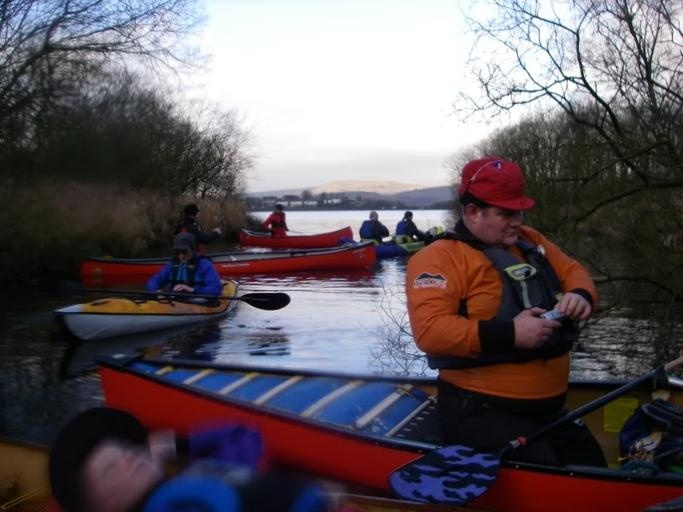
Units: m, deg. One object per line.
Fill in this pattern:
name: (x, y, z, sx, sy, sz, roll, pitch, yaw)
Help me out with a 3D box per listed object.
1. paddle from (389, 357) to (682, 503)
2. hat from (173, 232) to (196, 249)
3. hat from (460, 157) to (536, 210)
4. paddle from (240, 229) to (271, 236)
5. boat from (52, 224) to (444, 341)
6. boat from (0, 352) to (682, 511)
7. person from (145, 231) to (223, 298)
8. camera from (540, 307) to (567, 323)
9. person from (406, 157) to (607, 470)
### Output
paddle: (1.268, 1.263, 3.537, 2.034, 0.113, 0.567, -21, 12, -1)
hat: (-2.217, -0.208, 8.162, 0.274, 0.260, 0.297, -3, 6, -12)
hat: (0.919, -0.445, 3.455, 0.393, 0.207, 0.301, 22, 29, 40)
paddle: (-3.722, -1.033, 24.853, 0.922, 0.321, 0.688, -3, -1, 37)
boat: (-1.917, 0.446, 10.839, 6.699, 0.676, 1.364, -8, 16, -43)
boat: (-0.068, 1.261, 4.053, 4.506, 0.631, 1.023, 2, 3, 12)
person: (-2.300, 0.108, 8.512, 0.940, 0.960, 0.766, 2, 7, 30)
camera: (1.211, 0.336, 3.304, 0.148, 0.068, 0.080, -2, 6, -3)
person: (0.953, 0.300, 3.526, 1.106, 1.794, 0.594, -1, 6, 5)
